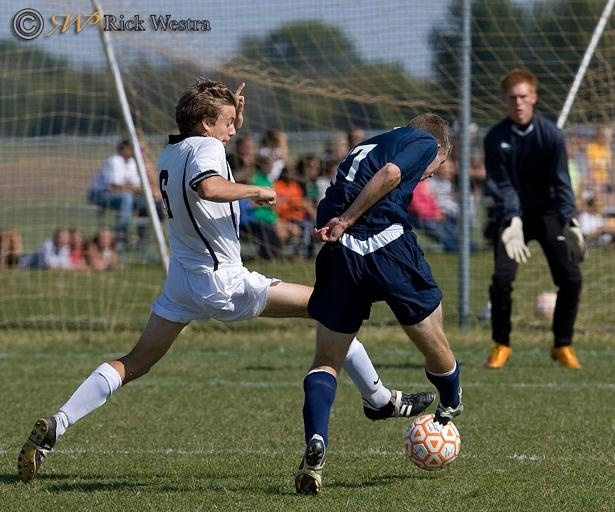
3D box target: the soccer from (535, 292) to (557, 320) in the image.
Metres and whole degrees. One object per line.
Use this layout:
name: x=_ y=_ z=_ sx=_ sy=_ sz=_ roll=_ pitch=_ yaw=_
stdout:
soccer: x=2.148 y=0.453 z=10.964 sx=0.218 sy=0.258 sz=0.228 roll=-2 pitch=3 yaw=13

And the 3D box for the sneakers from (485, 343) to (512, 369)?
sneakers: x=1.685 y=0.863 z=10.689 sx=0.116 sy=0.140 sz=0.345 roll=7 pitch=10 yaw=26

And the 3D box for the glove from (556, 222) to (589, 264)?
glove: x=2.130 y=-0.110 z=9.753 sx=0.108 sy=0.299 sz=0.222 roll=-13 pitch=30 yaw=-3

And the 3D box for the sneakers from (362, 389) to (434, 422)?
sneakers: x=0.613 y=1.047 z=8.464 sx=0.433 sy=0.212 sz=0.151 roll=-15 pitch=29 yaw=-2

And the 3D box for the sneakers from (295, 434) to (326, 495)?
sneakers: x=0.015 y=1.330 z=7.667 sx=0.195 sy=0.405 sz=0.138 roll=-1 pitch=11 yaw=-1

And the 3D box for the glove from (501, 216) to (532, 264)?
glove: x=1.661 y=-0.138 z=9.714 sx=0.214 sy=0.341 sz=0.393 roll=0 pitch=11 yaw=8

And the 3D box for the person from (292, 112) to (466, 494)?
person: x=0.426 y=0.288 z=7.885 sx=1.248 sy=2.348 sz=0.680 roll=-4 pitch=11 yaw=-17

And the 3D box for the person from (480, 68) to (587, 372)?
person: x=1.861 y=-0.231 z=9.999 sx=0.828 sy=2.594 sz=0.895 roll=1 pitch=11 yaw=9

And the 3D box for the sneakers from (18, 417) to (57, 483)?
sneakers: x=-1.770 y=1.262 z=7.914 sx=0.259 sy=0.441 sz=0.174 roll=-4 pitch=11 yaw=-17
